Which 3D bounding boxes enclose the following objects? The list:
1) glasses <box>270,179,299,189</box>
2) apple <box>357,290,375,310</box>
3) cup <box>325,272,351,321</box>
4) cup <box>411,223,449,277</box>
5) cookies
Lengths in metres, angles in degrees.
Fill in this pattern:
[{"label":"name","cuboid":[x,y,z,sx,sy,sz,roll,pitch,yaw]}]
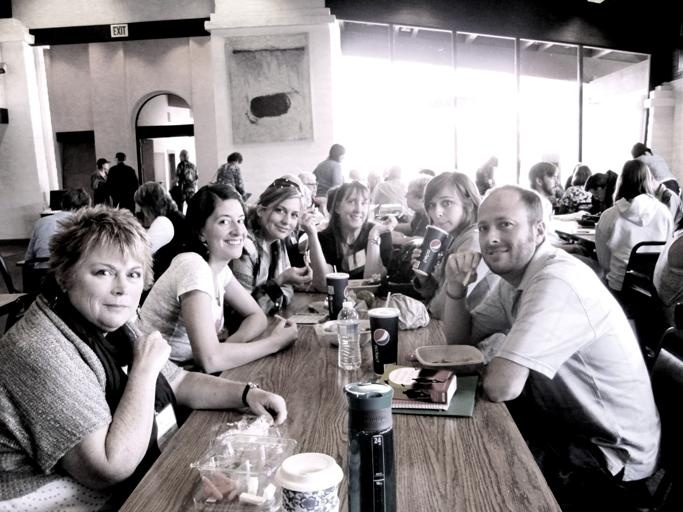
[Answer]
[{"label":"glasses","cuboid":[-0.344,-0.449,3.179,0.117,0.034,0.124,-4,4,-23]},{"label":"apple","cuboid":[0.123,0.211,2.537,0.078,0.098,0.080,-9,1,-17]},{"label":"cup","cuboid":[-0.022,0.169,2.359,0.167,0.283,0.168,1,3,0]},{"label":"cup","cuboid":[0.431,-0.024,2.454,0.147,0.238,0.152,21,-7,3]},{"label":"cookies","cuboid":[-0.268,0.533,1.286,0.166,0.052,0.239,-4,10,-11]}]
